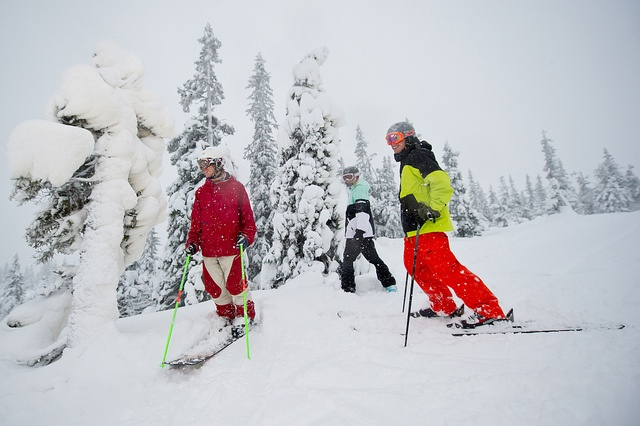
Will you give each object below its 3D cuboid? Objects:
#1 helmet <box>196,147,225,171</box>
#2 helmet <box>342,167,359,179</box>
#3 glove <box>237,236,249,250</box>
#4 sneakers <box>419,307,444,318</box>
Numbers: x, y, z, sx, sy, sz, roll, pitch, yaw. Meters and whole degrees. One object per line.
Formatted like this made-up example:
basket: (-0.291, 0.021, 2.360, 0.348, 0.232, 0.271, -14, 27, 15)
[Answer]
helmet: (-2.525, -1.254, 11.537, 0.527, 0.499, 0.441, -3, 1, -12)
helmet: (0.825, -1.084, 13.265, 0.341, 0.304, 0.281, 8, -1, 0)
glove: (-1.735, 0.660, 11.136, 0.284, 0.341, 0.307, -2, -9, -20)
sneakers: (2.532, 2.265, 11.245, 0.465, 0.189, 0.227, 7, 25, 29)
